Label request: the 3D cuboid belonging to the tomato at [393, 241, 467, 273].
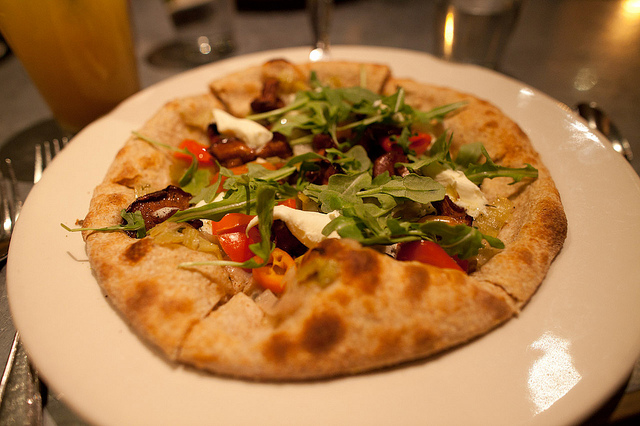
[{"bbox_3d":[0.830,0.324,3.908,0.373,0.291,0.142,25,89,-17],"label":"tomato"}]
